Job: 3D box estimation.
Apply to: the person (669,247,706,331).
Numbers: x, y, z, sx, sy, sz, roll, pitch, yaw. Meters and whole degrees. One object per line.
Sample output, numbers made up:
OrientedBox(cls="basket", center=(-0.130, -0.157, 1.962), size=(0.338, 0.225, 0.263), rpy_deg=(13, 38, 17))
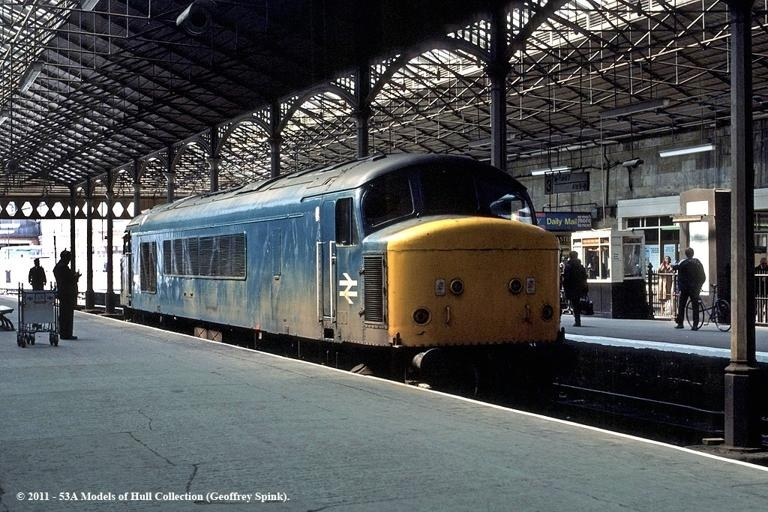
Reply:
OrientedBox(cls="person", center=(9.317, 0.961, 21.480), size=(0.818, 2.460, 0.955), rpy_deg=(2, 2, 42))

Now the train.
OrientedBox(cls="train", center=(-2.682, 0.500, 19.662), size=(4.127, 5.142, 16.636), rpy_deg=(0, -4, -26))

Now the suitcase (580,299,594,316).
OrientedBox(cls="suitcase", center=(6.961, 1.724, 24.069), size=(0.465, 0.545, 0.896), rpy_deg=(-3, -9, 16))

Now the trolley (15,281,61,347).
OrientedBox(cls="trolley", center=(-9.116, 1.602, 18.579), size=(1.093, 1.706, 1.398), rpy_deg=(2, -6, -37))
